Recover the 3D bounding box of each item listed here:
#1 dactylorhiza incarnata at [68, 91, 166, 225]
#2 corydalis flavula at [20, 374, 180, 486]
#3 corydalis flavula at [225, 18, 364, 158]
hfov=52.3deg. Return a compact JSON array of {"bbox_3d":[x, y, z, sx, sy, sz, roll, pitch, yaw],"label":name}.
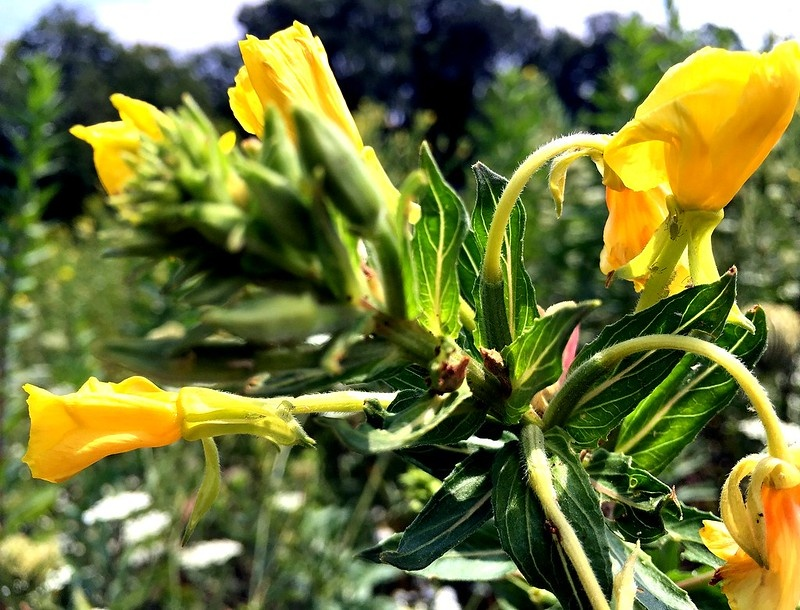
[{"bbox_3d":[-0.425,-0.238,1.198,0.082,0.185,0.187,30,0,-38],"label":"dactylorhiza incarnata"},{"bbox_3d":[-0.551,0.215,1.435,0.260,0.159,0.140,1,5,3],"label":"corydalis flavula"},{"bbox_3d":[-0.184,-0.347,1.365,0.183,0.136,0.318,18,2,-44],"label":"corydalis flavula"}]
